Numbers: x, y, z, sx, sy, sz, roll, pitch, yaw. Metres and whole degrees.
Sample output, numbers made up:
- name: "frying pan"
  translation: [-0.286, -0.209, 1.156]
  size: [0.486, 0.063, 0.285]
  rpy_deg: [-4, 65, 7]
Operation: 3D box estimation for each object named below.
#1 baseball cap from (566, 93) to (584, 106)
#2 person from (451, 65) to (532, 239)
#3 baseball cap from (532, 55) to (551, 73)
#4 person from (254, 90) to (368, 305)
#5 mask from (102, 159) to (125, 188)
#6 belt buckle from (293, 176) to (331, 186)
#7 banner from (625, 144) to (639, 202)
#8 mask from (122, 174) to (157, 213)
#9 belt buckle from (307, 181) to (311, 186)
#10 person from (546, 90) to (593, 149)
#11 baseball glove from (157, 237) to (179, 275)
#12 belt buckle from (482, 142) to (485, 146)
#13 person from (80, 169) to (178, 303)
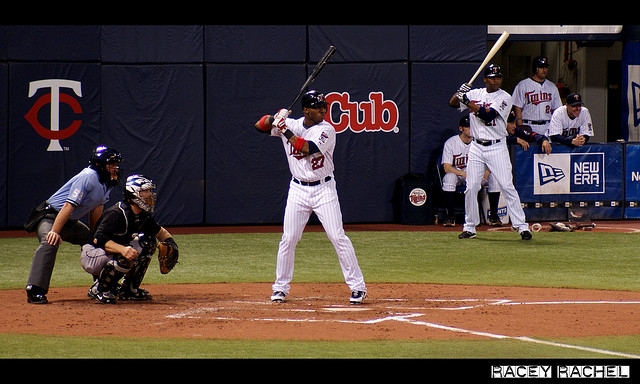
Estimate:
- name: "baseball cap"
  translation: [4.910, -1.783, 16.681]
  size: [0.277, 0.286, 0.508]
  rpy_deg: [1, -1, 15]
- name: "person"
  translation: [3.049, -0.708, 15.604]
  size: [1.308, 3.120, 0.933]
  rpy_deg: [1, -1, 10]
- name: "baseball cap"
  translation: [4.423, -2.560, 17.305]
  size: [0.277, 0.376, 0.513]
  rpy_deg: [1, -1, 13]
- name: "person"
  translation: [-0.135, 0.055, 11.839]
  size: [1.251, 2.952, 0.835]
  rpy_deg: [2, -2, -28]
- name: "mask"
  translation: [-2.852, -0.267, 12.016]
  size: [0.227, 0.368, 0.419]
  rpy_deg: [1, -1, 9]
- name: "belt buckle"
  translation: [-0.112, -0.147, 11.768]
  size: [0.497, 0.133, 0.130]
  rpy_deg: [1, -1, 17]
- name: "banner"
  translation: [6.609, -0.403, 18.269]
  size: [0.399, 1.189, 0.259]
  rpy_deg: [1, -1, -3]
- name: "mask"
  translation: [-2.469, 0.029, 11.807]
  size: [0.404, 0.511, 0.522]
  rpy_deg: [2, -1, -12]
- name: "belt buckle"
  translation: [-0.146, -0.112, 11.718]
  size: [0.042, 0.060, 0.021]
  rpy_deg: [1, -1, -2]
- name: "person"
  translation: [4.884, -1.380, 16.730]
  size: [0.799, 0.962, 0.621]
  rpy_deg: [1, -1, 8]
- name: "baseball glove"
  translation: [-2.129, 0.915, 12.119]
  size: [0.396, 0.438, 0.189]
  rpy_deg: [0, 5, 3]
- name: "belt buckle"
  translation: [2.952, -0.863, 15.582]
  size: [0.074, 0.062, 0.066]
  rpy_deg: [0, -1, -6]
- name: "person"
  translation: [-2.606, 0.658, 11.816]
  size: [1.262, 1.736, 0.627]
  rpy_deg: [2, -1, -13]
